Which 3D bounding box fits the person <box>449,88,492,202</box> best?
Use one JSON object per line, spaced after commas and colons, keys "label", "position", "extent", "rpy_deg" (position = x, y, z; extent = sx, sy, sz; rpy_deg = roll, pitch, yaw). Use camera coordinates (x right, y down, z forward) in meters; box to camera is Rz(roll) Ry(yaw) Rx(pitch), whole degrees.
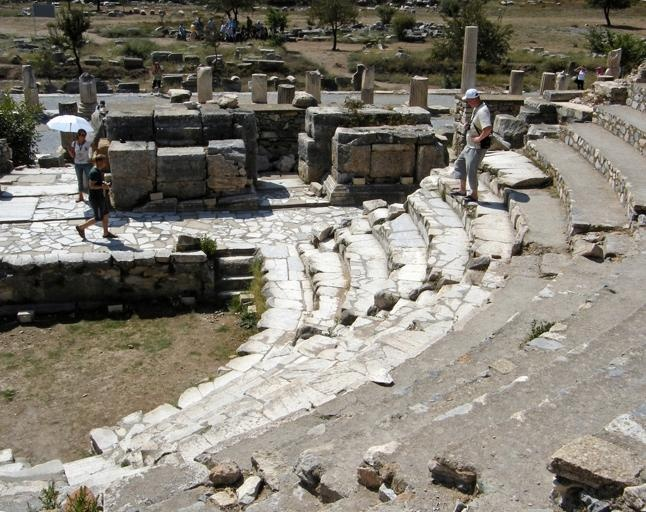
{"label": "person", "position": [2.071, -1.544, 9.448], "extent": [0.489, 1.585, 1.023], "rpy_deg": [3, 24, 12]}

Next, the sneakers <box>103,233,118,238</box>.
{"label": "sneakers", "position": [-3.369, -0.336, 10.882], "extent": [0.247, 0.073, 0.069], "rpy_deg": [-1, 28, -12]}

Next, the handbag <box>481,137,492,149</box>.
{"label": "handbag", "position": [2.181, -1.517, 9.135], "extent": [0.104, 0.203, 0.335], "rpy_deg": [5, 22, 17]}

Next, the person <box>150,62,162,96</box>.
{"label": "person", "position": [-6.153, -6.651, 25.316], "extent": [0.357, 1.062, 0.974], "rpy_deg": [-8, 23, -11]}

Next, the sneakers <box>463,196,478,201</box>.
{"label": "sneakers", "position": [2.079, -0.816, 9.637], "extent": [0.208, 0.078, 0.064], "rpy_deg": [4, 33, 12]}

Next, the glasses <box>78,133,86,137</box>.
{"label": "glasses", "position": [-3.970, -2.006, 11.261], "extent": [0.084, 0.050, 0.075], "rpy_deg": [6, -9, 43]}
